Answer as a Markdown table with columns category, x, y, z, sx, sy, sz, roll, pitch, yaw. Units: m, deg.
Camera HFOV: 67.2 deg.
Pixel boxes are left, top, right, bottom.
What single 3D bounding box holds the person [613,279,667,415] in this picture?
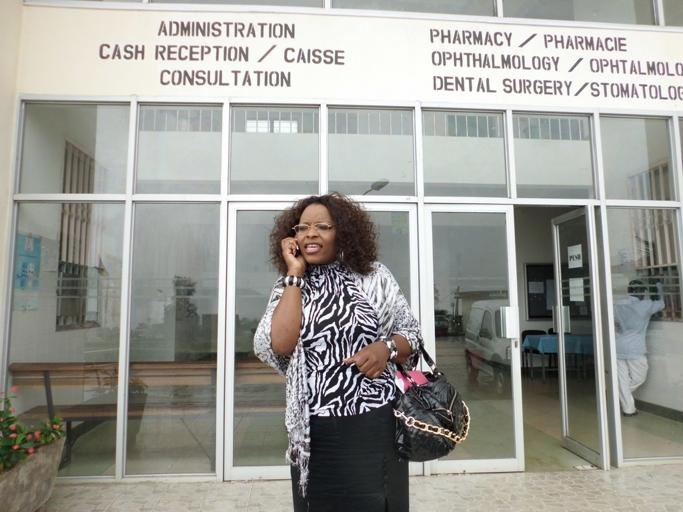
| category | x | y | z | sx | sy | sz | roll | pitch | yaw |
| --- | --- | --- | --- | --- | --- | --- | --- | --- | --- |
| person | 3.279 | 1.001 | 5.711 | 0.578 | 1.440 | 0.246 | -3 | 6 | -26 |

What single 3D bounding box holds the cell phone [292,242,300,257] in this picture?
| category | x | y | z | sx | sy | sz | roll | pitch | yaw |
| --- | --- | --- | --- | --- | --- | --- | --- | --- | --- |
| cell phone | -0.260 | -0.025 | 3.011 | 0.038 | 0.061 | 0.018 | -31 | 4 | -27 |

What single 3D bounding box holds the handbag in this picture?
| category | x | y | z | sx | sy | sz | roll | pitch | yaw |
| --- | --- | --- | --- | --- | --- | --- | --- | --- | --- |
| handbag | 0.543 | 0.789 | 2.998 | 0.322 | 0.685 | 0.471 | 5 | -1 | 1 |
